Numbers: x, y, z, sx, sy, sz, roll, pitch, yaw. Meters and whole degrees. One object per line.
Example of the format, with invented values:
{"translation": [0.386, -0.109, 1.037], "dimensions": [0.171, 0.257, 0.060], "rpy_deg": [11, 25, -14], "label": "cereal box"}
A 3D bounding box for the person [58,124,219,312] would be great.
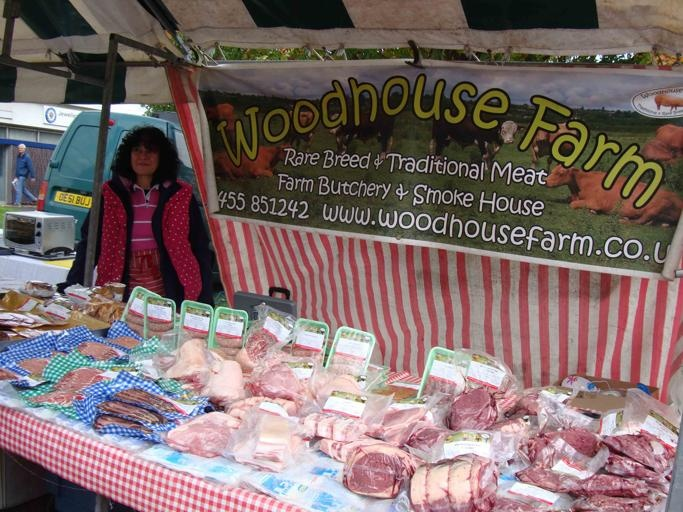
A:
{"translation": [-1.548, -0.285, 4.414], "dimensions": [1.034, 1.543, 0.866], "rpy_deg": [-2, 12, -13], "label": "person"}

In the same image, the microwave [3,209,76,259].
{"translation": [-3.122, -0.226, 5.507], "dimensions": [0.802, 0.460, 0.503], "rpy_deg": [5, 3, 31], "label": "microwave"}
